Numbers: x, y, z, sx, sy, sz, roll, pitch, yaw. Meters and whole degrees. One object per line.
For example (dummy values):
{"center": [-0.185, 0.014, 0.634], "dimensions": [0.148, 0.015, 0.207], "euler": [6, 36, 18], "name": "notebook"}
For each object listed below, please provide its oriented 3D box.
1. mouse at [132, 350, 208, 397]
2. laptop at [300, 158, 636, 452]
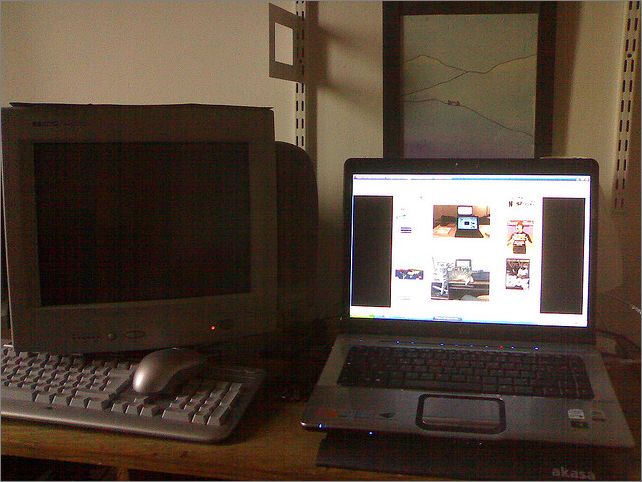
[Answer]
{"center": [-0.278, 0.254, 1.218], "dimensions": [0.126, 0.055, 0.205], "euler": [-2, -1, 33], "name": "mouse"}
{"center": [0.293, 0.101, 1.304], "dimensions": [0.812, 0.406, 0.571], "euler": [2, 14, 10], "name": "laptop"}
